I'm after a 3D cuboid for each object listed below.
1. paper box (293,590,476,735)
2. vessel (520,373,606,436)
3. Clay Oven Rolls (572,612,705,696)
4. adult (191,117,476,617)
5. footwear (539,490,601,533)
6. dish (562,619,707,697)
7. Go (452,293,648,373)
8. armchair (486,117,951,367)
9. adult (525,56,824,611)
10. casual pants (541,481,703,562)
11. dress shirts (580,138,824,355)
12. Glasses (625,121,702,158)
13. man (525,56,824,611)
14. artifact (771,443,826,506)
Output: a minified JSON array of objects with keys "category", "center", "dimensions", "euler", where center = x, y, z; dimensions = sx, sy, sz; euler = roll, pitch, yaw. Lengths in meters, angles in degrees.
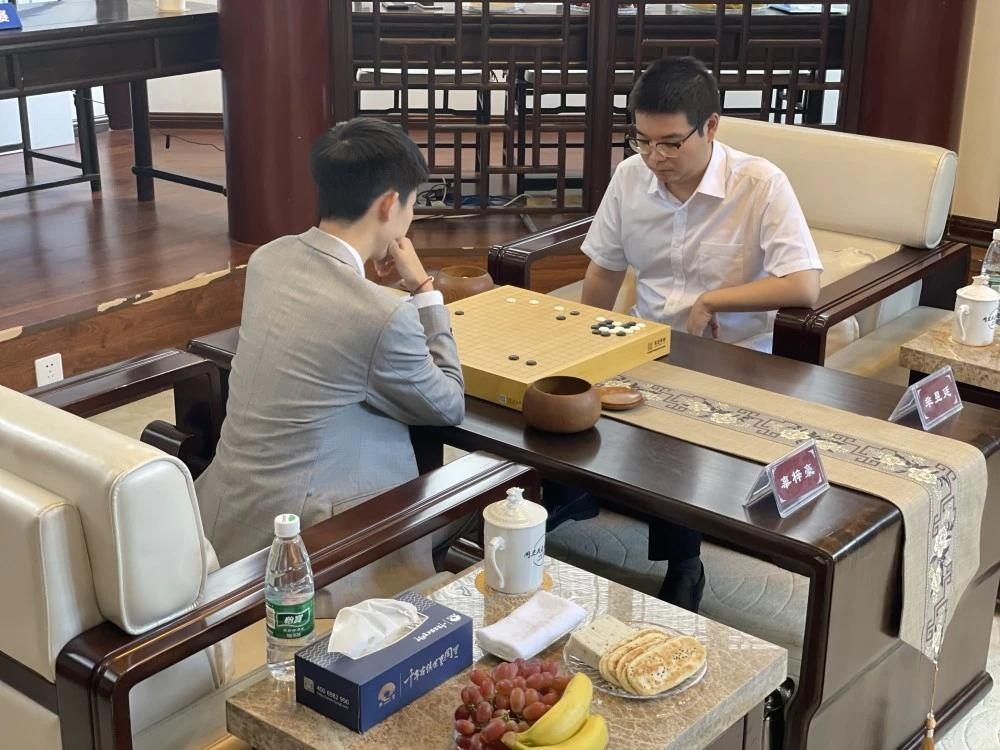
[{"category":"paper box","center":[-0.148,0.379,1.026],"dimensions":[0.115,0.072,0.211],"euler":[11,16,38]},{"category":"vessel","center":[0.135,0.056,1.633],"dimensions":[0.163,0.084,0.167],"euler":[12,26,31]},{"category":"Clay Oven Rolls","center":[0.175,0.370,1.024],"dimensions":[0.094,0.032,0.104],"euler":[-13,17,-43]},{"category":"adult","center":[-0.359,0.067,1.763],"dimensions":[0.415,1.215,0.687],"euler":[34,41,31]},{"category":"footwear","center":[0.197,0.377,2.224],"dimensions":[0.153,0.060,0.117],"euler":[-6,20,-30]},{"category":"dish","center":[0.174,0.356,1.022],"dimensions":[0.107,0.033,0.098],"euler":[10,18,41]},{"category":"Go","center":[0.093,-0.103,1.923],"dimensions":[0.275,0.055,0.304],"euler":[-21,31,-39]},{"category":"armchair","center":[0.873,-0.325,2.794],"dimensions":[0.916,0.924,1.102],"euler":[-23,32,-24]},{"category":"adult","center":[0.552,-0.173,2.456],"dimensions":[0.753,1.548,0.858],"euler":[16,30,38]},{"category":"casual pants","center":[0.290,0.360,1.853],"dimensions":[0.275,0.065,0.203],"euler":[19,19,27]},{"category":"dress shirts","center":[0.641,-0.455,2.514],"dimensions":[0.781,0.657,0.345],"euler":[12,35,32]},{"category":"Glasses","center":[0.466,-0.657,2.158],"dimensions":[0.171,0.074,0.065],"euler":[9,22,24]},{"category":"man","center":[0.563,-0.161,2.445],"dimensions":[0.883,1.572,0.719],"euler":[-22,28,-36]},{"category":"artifact","center":[0.542,0.178,1.362],"dimensions":[0.047,0.088,0.127],"euler":[-7,-24,-29]}]
